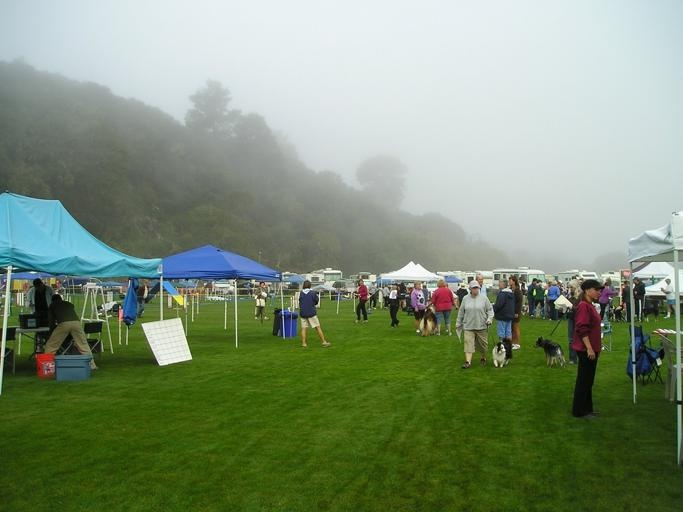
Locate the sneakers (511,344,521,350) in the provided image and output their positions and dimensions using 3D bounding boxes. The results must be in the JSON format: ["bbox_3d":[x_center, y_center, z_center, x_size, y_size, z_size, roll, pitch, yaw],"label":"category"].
[{"bbox_3d":[5.370,2.839,16.557,0.130,0.153,0.341,-1,-13,22],"label":"sneakers"}]

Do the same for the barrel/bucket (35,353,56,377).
[{"bbox_3d":[-6.779,2.563,12.398,0.657,0.549,0.284,-4,-6,29],"label":"barrel/bucket"}]

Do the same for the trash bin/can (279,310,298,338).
[{"bbox_3d":[-1.991,2.630,20.404,0.862,1.053,0.860,1,-5,-13],"label":"trash bin/can"}]

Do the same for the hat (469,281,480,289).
[{"bbox_3d":[3.242,0.730,13.101,0.189,0.139,0.258,1,-4,-3],"label":"hat"}]

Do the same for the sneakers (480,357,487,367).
[{"bbox_3d":[3.676,2.753,13.937,0.104,0.143,0.322,-2,-8,8],"label":"sneakers"}]

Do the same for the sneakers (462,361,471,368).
[{"bbox_3d":[3.130,2.761,13.484,0.211,0.158,0.315,-3,-5,17],"label":"sneakers"}]

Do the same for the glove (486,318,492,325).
[{"bbox_3d":[3.605,1.623,13.147,0.130,0.150,0.227,-2,-5,15],"label":"glove"}]

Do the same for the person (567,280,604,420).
[{"bbox_3d":[4.265,1.586,9.355,0.555,2.348,0.840,-3,-5,26],"label":"person"}]

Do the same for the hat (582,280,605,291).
[{"bbox_3d":[4.396,0.511,9.380,0.285,0.165,0.220,-2,7,6],"label":"hat"}]

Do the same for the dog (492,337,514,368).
[{"bbox_3d":[4.052,2.490,13.684,0.392,0.695,0.702,-5,-6,40],"label":"dog"}]

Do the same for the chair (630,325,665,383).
[{"bbox_3d":[6.702,2.173,11.877,0.718,1.252,1.699,-4,-6,30],"label":"chair"}]

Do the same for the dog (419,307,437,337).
[{"bbox_3d":[3.328,2.603,20.677,0.662,0.984,0.748,-2,-5,8],"label":"dog"}]
